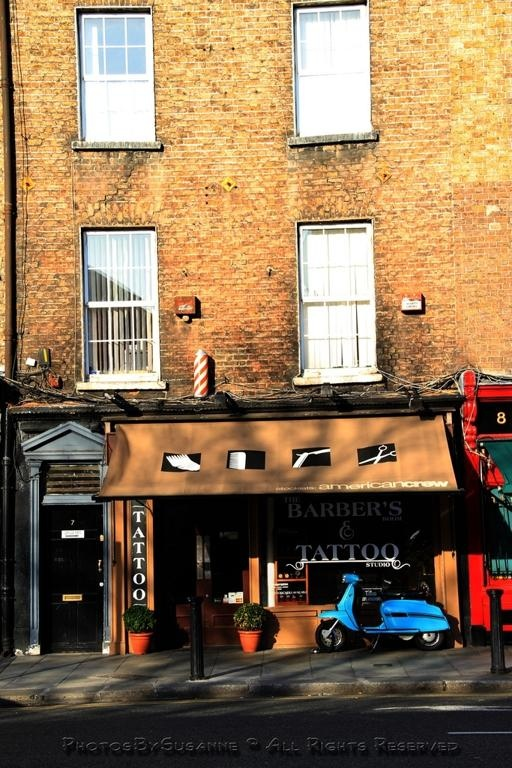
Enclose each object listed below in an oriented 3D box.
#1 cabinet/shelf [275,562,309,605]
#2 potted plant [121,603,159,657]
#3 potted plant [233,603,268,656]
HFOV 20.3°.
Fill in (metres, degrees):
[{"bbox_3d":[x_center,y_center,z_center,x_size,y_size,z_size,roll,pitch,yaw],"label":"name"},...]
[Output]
[{"bbox_3d":[0.504,2.834,20.134,0.473,0.980,0.274,1,-12,-1],"label":"cabinet/shelf"},{"bbox_3d":[-1.597,3.366,19.505,0.418,0.665,0.433,-4,-5,2],"label":"potted plant"},{"bbox_3d":[-0.025,3.369,19.664,0.574,0.798,0.534,0,-3,27],"label":"potted plant"}]
